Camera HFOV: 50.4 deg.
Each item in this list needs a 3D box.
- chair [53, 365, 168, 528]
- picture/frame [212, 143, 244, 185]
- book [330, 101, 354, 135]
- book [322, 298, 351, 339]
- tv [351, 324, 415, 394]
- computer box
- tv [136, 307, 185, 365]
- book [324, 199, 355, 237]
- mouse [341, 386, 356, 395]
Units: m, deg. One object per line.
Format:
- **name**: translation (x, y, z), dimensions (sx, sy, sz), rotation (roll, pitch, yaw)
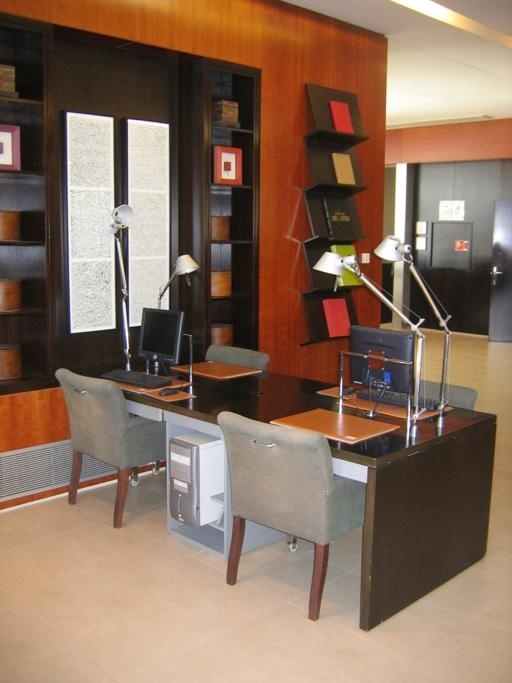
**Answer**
- **chair**: translation (-0.741, 0.548, 3.017), dimensions (0.622, 0.769, 0.615), rotation (-2, 8, -31)
- **picture/frame**: translation (-0.211, -1.289, 3.987), dimensions (0.037, 0.387, 0.366), rotation (4, 7, 39)
- **book**: translation (0.715, -1.852, 4.552), dimensions (0.112, 0.311, 0.236), rotation (1, 1, 44)
- **book**: translation (0.703, -0.212, 4.766), dimensions (0.086, 0.348, 0.365), rotation (-9, -5, 33)
- **tv**: translation (0.554, 0.084, 2.405), dimensions (0.092, 0.253, 0.278), rotation (-14, 18, -37)
- **computer box**: translation (-0.277, 0.636, 2.553), dimensions (0.244, 0.380, 0.250), rotation (2, 6, 24)
- **tv**: translation (-0.551, -0.030, 3.139), dimensions (0.331, 0.298, 0.029), rotation (7, -2, 37)
- **book**: translation (0.726, -1.050, 4.673), dimensions (0.077, 0.333, 0.347), rotation (-11, -8, 43)
- **mouse**: translation (0.463, 0.249, 2.747), dimensions (0.045, 0.016, 0.046), rotation (4, 12, 36)
